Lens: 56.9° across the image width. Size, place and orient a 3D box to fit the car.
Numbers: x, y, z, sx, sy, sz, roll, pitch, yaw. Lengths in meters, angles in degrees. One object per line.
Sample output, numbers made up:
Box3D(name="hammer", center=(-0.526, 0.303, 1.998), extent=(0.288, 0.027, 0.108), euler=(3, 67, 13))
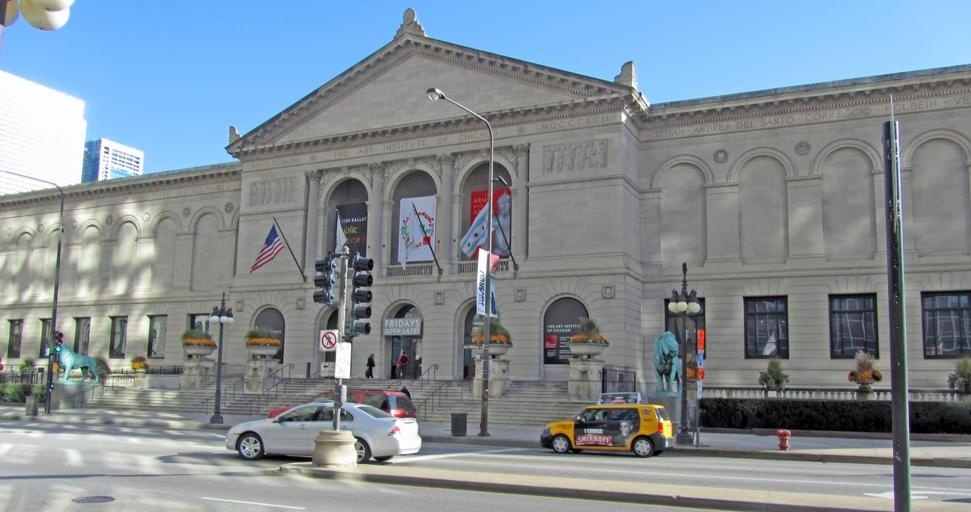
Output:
Box3D(name="car", center=(-8.967, 10.090, 51.050), extent=(9.853, 2.551, 3.944), euler=(0, -13, 8))

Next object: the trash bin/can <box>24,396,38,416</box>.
Box3D(name="trash bin/can", center=(-35.896, 11.862, 70.794), extent=(0.942, 1.519, 1.677), euler=(7, -13, -26))

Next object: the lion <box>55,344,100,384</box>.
Box3D(name="lion", center=(-35.759, 9.464, 78.293), extent=(4.987, 2.636, 1.221), euler=(22, -12, -41))

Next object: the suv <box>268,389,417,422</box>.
Box3D(name="suv", center=(-9.240, 9.344, 58.168), extent=(9.295, 2.719, 4.004), euler=(0, -10, 7))

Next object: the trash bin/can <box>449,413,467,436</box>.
Box3D(name="trash bin/can", center=(-1.808, 11.145, 59.359), extent=(0.905, 1.490, 0.588), euler=(-1, -12, 7))

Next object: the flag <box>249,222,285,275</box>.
Box3D(name="flag", center=(-19.439, -0.482, 79.891), extent=(3.929, 3.649, 0.436), euler=(-31, -29, 17))

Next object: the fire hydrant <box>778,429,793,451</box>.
Box3D(name="fire hydrant", center=(18.389, 11.301, 55.083), extent=(0.721, 1.194, 1.751), euler=(-4, -12, 19))
